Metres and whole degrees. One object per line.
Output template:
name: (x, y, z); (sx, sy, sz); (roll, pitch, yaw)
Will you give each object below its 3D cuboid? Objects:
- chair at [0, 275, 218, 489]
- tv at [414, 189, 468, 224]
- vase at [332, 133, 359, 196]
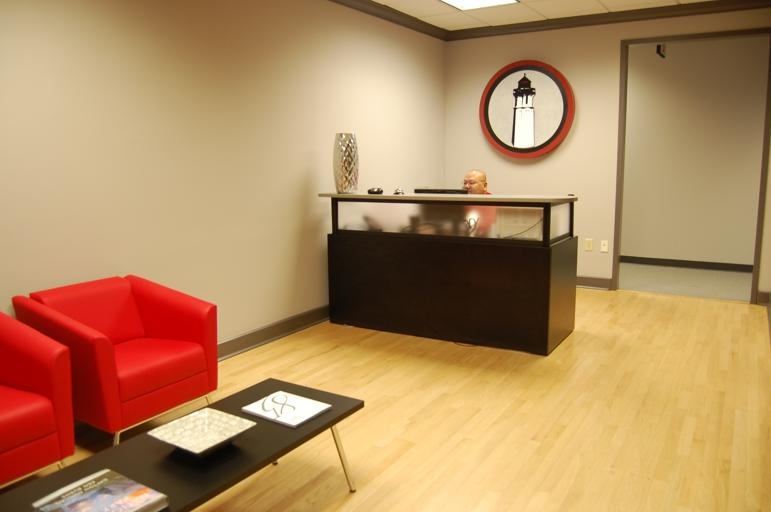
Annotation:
chair: (-1.860, 0.847, 3.872); (1.157, 1.139, 1.232); (7, 11, 28)
tv: (0.566, -0.498, 5.205); (0.445, 0.291, 0.604); (2, 12, 6)
vase: (-0.427, -0.957, 5.387); (0.244, 0.617, 0.172); (1, 12, 5)
